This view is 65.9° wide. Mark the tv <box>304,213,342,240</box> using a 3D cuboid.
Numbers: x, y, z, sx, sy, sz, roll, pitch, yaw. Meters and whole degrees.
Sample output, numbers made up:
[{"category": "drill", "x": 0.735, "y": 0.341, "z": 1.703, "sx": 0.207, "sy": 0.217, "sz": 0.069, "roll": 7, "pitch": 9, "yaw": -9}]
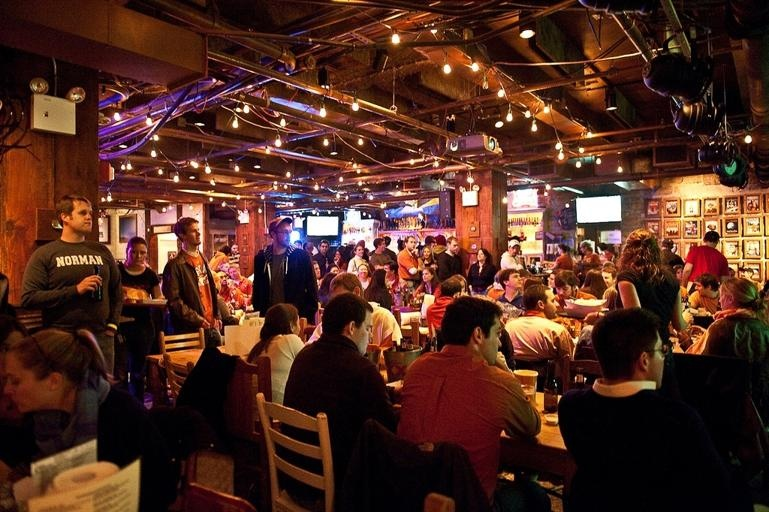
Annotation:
[{"category": "tv", "x": -2.517, "y": -1.213, "z": 23.842, "sx": 1.154, "sy": 0.770, "sz": 0.116, "roll": -10, "pitch": -23, "yaw": -34}]

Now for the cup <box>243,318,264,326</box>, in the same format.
[{"category": "cup", "x": -1.167, "y": 0.582, "z": 5.272, "sx": 0.087, "sy": 0.055, "sz": 0.090, "roll": -2, "pitch": -3, "yaw": 0}]

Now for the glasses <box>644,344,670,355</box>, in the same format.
[{"category": "glasses", "x": 1.510, "y": 0.515, "z": 3.301, "sx": 0.158, "sy": 0.050, "sz": 0.156, "roll": -3, "pitch": -6, "yaw": 15}]

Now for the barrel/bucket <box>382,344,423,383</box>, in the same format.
[{"category": "barrel/bucket", "x": 0.108, "y": 0.890, "z": 4.916, "sx": 0.275, "sy": 0.225, "sz": 0.293, "roll": 0, "pitch": -8, "yaw": 0}]

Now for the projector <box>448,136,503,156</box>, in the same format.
[{"category": "projector", "x": 1.409, "y": -1.785, "z": 9.661, "sx": 0.530, "sy": 0.180, "sz": 0.420, "roll": -3, "pitch": -5, "yaw": 32}]

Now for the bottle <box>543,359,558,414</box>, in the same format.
[{"category": "bottle", "x": 1.127, "y": 0.873, "z": 4.022, "sx": 0.137, "sy": 0.347, "sz": 0.140, "roll": -3, "pitch": 13, "yaw": 1}]

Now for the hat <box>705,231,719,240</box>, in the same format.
[{"category": "hat", "x": 4.551, "y": -0.274, "z": 8.257, "sx": 0.151, "sy": 0.188, "sz": 0.194, "roll": 2, "pitch": 4, "yaw": 29}]
